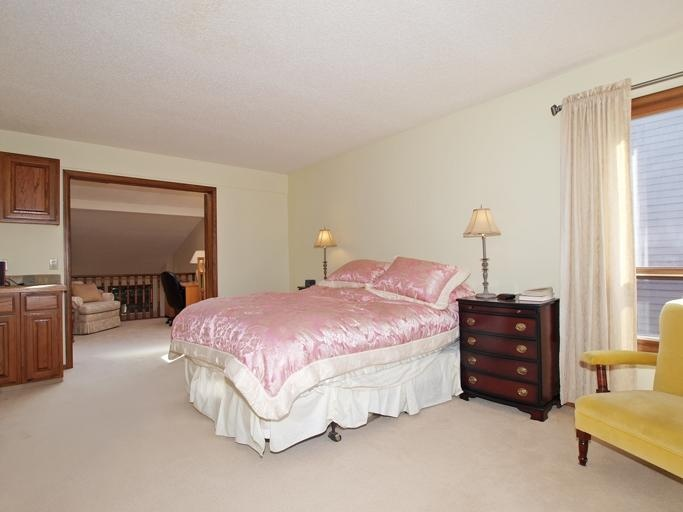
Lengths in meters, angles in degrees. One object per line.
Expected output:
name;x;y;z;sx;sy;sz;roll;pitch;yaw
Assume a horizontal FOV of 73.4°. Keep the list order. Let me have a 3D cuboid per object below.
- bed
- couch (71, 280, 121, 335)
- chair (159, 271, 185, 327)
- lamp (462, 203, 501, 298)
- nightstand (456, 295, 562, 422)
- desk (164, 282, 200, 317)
bed;-0.106;0.853;3.912;1.693;0.625;1.454;5;-6;-42
couch;-4.349;0.928;8.039;0.572;0.828;0.872;-1;10;0
chair;-3.080;0.822;8.473;0.465;0.733;0.446;-10;-2;-7
lamp;1.415;-0.040;4.611;0.355;0.883;0.784;2;11;17
nightstand;1.572;0.897;4.320;0.813;1.016;0.573;1;8;42
desk;-2.620;0.685;7.567;0.443;0.602;0.639;-2;2;-31
